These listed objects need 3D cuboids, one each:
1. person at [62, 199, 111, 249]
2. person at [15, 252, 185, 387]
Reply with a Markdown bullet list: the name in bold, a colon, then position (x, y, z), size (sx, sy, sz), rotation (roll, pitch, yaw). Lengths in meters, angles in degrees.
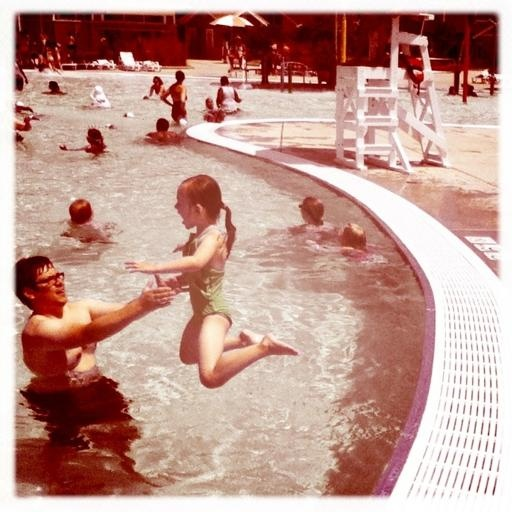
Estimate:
- **person**: position (-2.309, -0.503, 7.162), size (0.635, 0.551, 0.774), rotation (-3, 13, -18)
- **person**: position (-0.980, 0.442, 3.030), size (0.924, 0.899, 0.470), rotation (3, 13, 7)
